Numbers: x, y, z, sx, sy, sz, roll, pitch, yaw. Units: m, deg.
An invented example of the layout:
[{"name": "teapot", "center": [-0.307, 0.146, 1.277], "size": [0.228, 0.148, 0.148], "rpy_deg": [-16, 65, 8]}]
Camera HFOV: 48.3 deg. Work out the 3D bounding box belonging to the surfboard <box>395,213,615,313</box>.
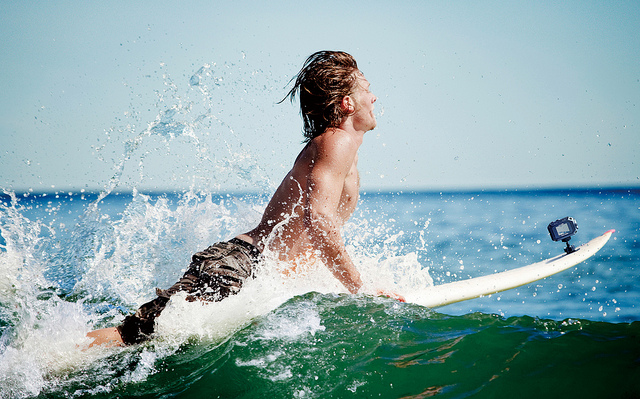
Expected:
[{"name": "surfboard", "center": [2.931, 1.023, 11.275], "size": [3.545, 0.567, 0.805], "rpy_deg": [-11, 5, -25]}]
